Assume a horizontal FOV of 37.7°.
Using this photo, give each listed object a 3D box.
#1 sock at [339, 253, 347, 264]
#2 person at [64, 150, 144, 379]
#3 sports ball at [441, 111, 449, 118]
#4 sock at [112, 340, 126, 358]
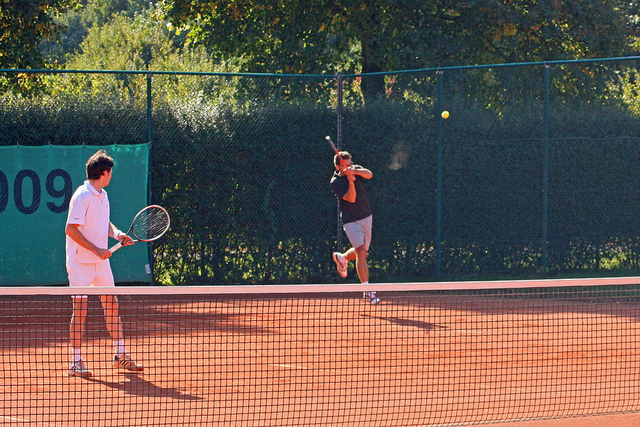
[{"bbox_3d":[0.410,0.788,16.414,0.105,0.179,0.175,-1,0,-40],"label":"sock"},{"bbox_3d":[-3.146,0.700,13.342,0.890,3.250,0.651,-1,0,-18],"label":"person"},{"bbox_3d":[2.310,-1.821,17.171,0.138,0.136,0.145,-1,0,0],"label":"sports ball"},{"bbox_3d":[-2.848,1.910,13.288,0.147,0.250,0.066,-1,0,-13],"label":"sock"}]
